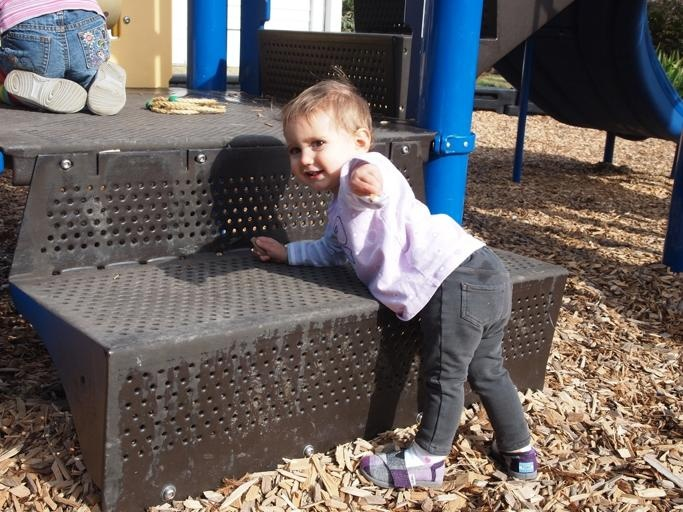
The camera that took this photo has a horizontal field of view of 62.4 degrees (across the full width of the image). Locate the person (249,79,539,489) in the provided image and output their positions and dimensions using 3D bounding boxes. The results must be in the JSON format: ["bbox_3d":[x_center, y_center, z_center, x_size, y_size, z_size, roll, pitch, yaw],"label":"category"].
[{"bbox_3d":[0.209,0.068,1.892,0.592,1.227,0.867,-10,21,-31],"label":"person"}]

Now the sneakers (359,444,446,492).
[{"bbox_3d":[0.197,0.684,1.846,0.255,0.125,0.123,3,9,-4],"label":"sneakers"}]

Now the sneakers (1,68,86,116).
[{"bbox_3d":[-1.326,-0.708,2.553,0.321,0.181,0.133,13,-10,-22],"label":"sneakers"}]
